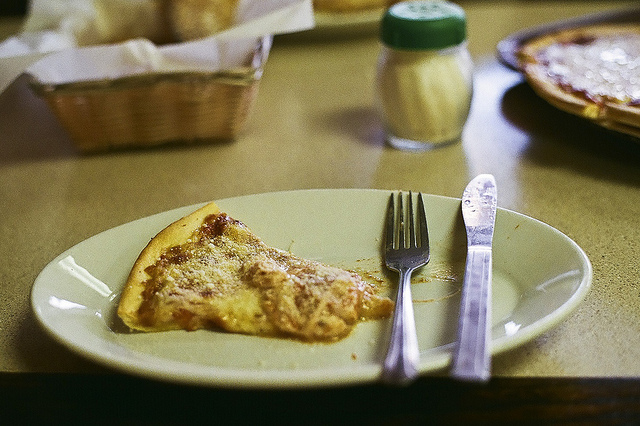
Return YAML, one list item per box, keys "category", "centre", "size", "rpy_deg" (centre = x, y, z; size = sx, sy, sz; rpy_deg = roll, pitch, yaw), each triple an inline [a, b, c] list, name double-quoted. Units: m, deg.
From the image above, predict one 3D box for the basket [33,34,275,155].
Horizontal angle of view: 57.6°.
- category: "basket"
  centre: [-0.249, -0.166, 0.917]
  size: [0.257, 0.102, 0.193]
  rpy_deg: [-8, 32, -4]

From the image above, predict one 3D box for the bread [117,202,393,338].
- category: "bread"
  centre: [-0.119, 0.084, 0.685]
  size: [0.217, 0.039, 0.160]
  rpy_deg: [12, 36, 17]

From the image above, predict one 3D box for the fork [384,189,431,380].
- category: "fork"
  centre: [0.100, 0.079, 0.672]
  size: [0.038, 0.024, 0.261]
  rpy_deg: [-4, 43, 14]
